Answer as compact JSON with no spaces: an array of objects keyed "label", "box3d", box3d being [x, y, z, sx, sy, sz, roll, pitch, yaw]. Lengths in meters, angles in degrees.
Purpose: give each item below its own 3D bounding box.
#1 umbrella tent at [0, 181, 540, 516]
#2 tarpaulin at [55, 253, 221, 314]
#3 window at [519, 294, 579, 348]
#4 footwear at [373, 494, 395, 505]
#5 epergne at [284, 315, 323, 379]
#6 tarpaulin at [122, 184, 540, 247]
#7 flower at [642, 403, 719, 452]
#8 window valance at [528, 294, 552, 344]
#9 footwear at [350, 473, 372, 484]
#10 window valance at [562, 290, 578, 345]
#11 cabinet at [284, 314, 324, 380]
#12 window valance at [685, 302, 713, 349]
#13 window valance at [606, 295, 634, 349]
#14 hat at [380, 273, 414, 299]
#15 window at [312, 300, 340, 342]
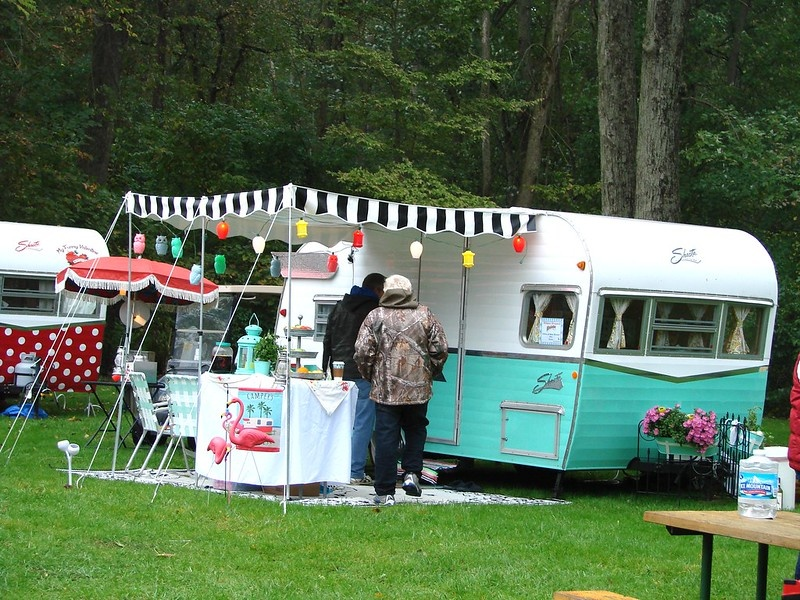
[{"label":"umbrella tent","box3d":[-1.083,0.282,13.947,4.174,3.679,4.073,2,2,-43]},{"label":"tarpaulin","box3d":[-4.145,-0.428,16.881,2.586,0.623,2.480,5,1,-38]},{"label":"window","box3d":[1.840,0.242,13.438,0.609,0.672,0.149,1,-5,34]},{"label":"footwear","box3d":[-0.186,2.308,12.482,0.247,0.126,0.103,3,3,42]},{"label":"epergne","box3d":[-1.179,0.622,14.101,0.642,0.909,0.637,2,-2,-15]},{"label":"tarpaulin","box3d":[-1.130,-1.261,15.502,4.586,0.496,5.408,4,4,9]},{"label":"flower","box3d":[3.462,1.564,13.361,0.600,0.332,0.613,6,-3,-17]},{"label":"window valance","box3d":[1.734,0.211,13.530,0.251,0.633,0.179,5,7,-10]},{"label":"footwear","box3d":[-0.490,2.282,13.745,0.265,0.134,0.105,-1,4,-39]},{"label":"window valance","box3d":[2.050,0.236,13.318,0.193,0.656,0.181,9,-8,14]},{"label":"cabinet","box3d":[-1.279,0.558,13.881,0.569,0.781,0.671,-1,16,-10]},{"label":"window valance","box3d":[3.874,0.341,14.031,0.092,0.649,0.261,2,6,-43]},{"label":"window valance","box3d":[2.704,0.302,13.399,0.314,0.623,0.103,10,-14,-31]},{"label":"hat","box3d":[-0.021,-0.198,12.643,0.227,0.318,0.322,9,28,22]},{"label":"window","box3d":[-1.101,0.375,16.085,0.370,0.622,0.441,0,-18,5]}]
